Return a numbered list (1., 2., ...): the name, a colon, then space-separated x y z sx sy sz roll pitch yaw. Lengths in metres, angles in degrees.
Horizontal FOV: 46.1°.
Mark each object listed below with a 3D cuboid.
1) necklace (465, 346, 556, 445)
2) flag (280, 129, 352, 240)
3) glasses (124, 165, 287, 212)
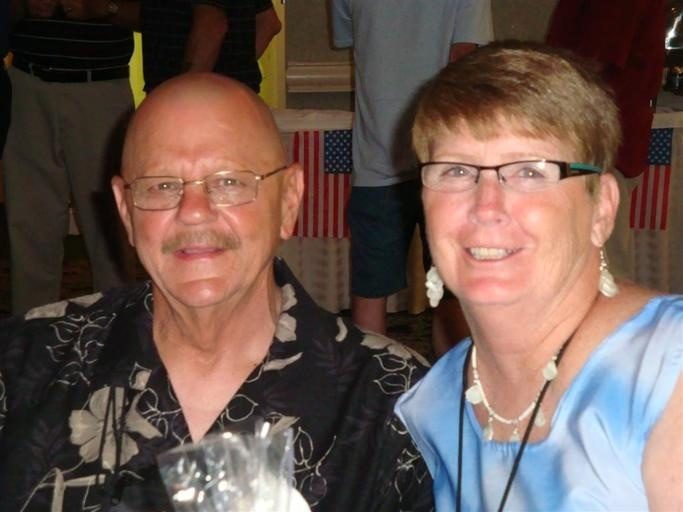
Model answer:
1. necklace: 0.493 0.407 2.312 0.268 0.305 0.022 3 -8 40
2. flag: -0.155 -0.443 4.991 0.436 0.647 0.031 3 6 19
3. glasses: -0.406 -0.208 2.476 0.456 0.111 0.134 -4 11 -9
